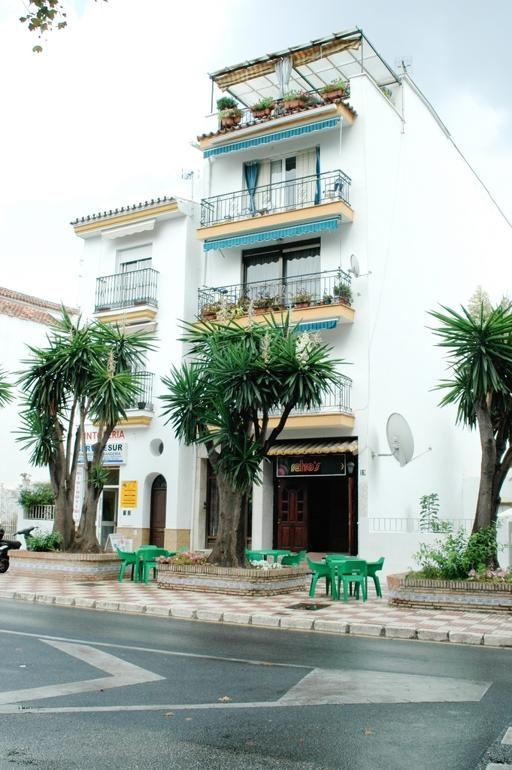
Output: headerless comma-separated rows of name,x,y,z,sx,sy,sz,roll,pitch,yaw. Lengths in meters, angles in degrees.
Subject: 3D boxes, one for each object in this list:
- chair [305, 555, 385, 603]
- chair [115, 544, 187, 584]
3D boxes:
chair,1.758,3.872,14.195,1.370,0.946,2.058,1,-5,14
chair,-2.833,4.464,17.536,1.147,1.001,2.574,3,-5,-13
